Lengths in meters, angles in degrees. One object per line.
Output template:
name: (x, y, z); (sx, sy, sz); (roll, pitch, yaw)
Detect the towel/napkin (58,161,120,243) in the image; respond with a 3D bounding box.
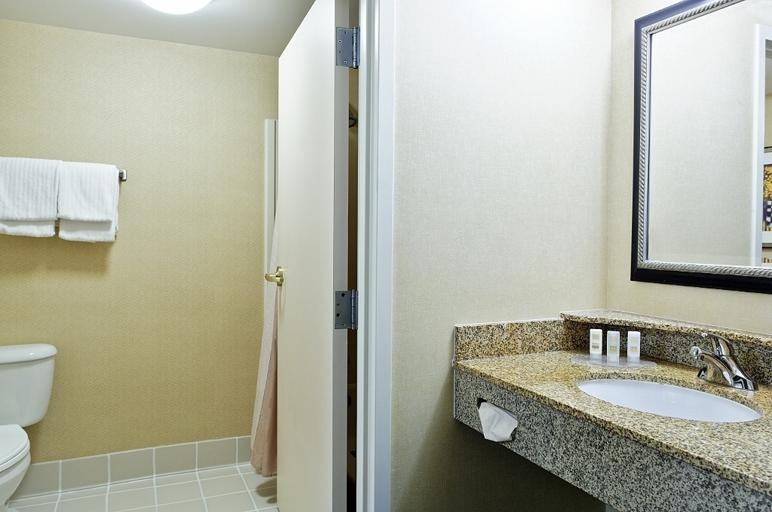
towel/napkin: (-1.684, -0.304, 3.281); (0.335, 0.425, 0.134); (-1, 2, -21)

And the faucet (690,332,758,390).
faucet: (1.321, 0.408, 2.253); (0.199, 0.209, 0.056); (-1, 5, 30)

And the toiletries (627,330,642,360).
toiletries: (1.065, 0.384, 2.498); (0.045, 0.117, 0.052); (-1, 5, 28)

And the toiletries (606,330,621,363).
toiletries: (0.987, 0.391, 2.526); (0.053, 0.124, 0.077); (-2, 5, 21)
